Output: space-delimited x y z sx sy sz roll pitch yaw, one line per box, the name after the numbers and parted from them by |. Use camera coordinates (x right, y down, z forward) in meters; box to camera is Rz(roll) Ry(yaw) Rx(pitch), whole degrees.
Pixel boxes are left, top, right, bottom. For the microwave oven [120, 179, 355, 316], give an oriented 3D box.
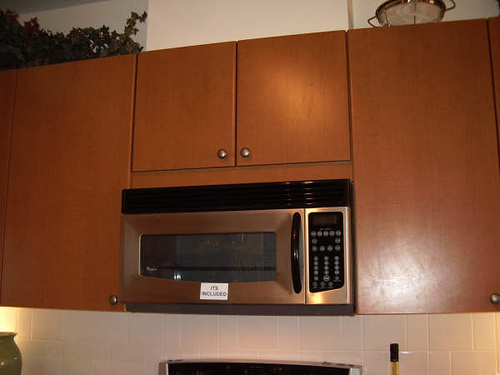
-0.065 0.213 2.144 0.915 0.202 0.450 -1 66 6 | microwave oven
